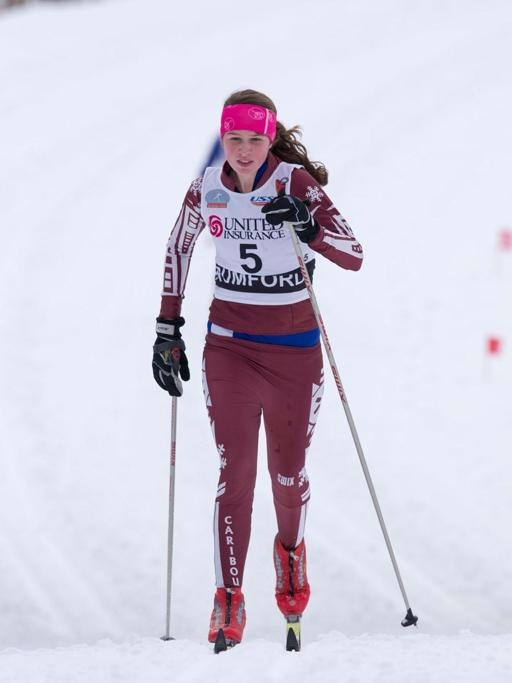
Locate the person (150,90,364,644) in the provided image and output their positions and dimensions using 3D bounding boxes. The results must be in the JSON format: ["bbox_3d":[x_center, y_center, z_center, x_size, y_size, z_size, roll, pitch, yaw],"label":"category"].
[{"bbox_3d":[0.032,0.135,5.001,1.042,2.843,0.814,0,7,-5],"label":"person"}]

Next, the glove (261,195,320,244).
[{"bbox_3d":[0.180,-0.614,4.817,0.277,0.123,0.201,28,-31,17],"label":"glove"}]

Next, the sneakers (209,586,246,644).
[{"bbox_3d":[-0.145,1.343,4.763,0.167,0.237,0.187,1,7,-2],"label":"sneakers"}]
